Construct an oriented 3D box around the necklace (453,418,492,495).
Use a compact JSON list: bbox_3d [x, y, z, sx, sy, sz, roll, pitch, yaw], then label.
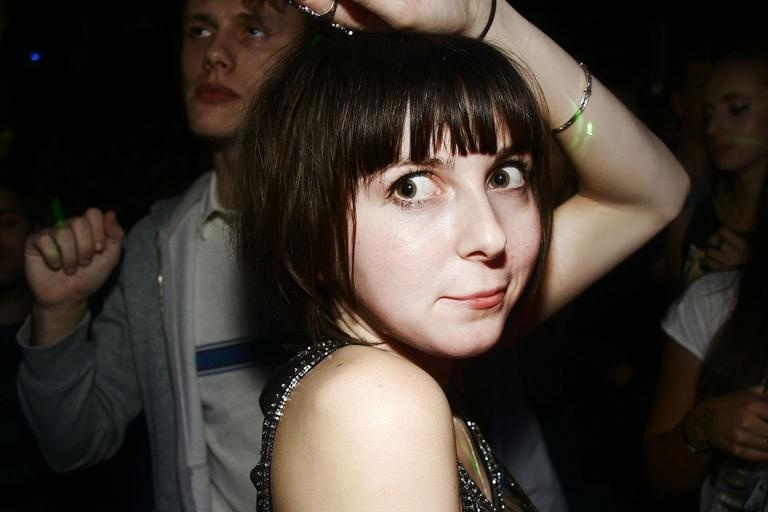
[{"bbox_3d":[0.278,0.643,2.283,0.069,0.219,0.154,-29,0,15],"label":"necklace"}]
